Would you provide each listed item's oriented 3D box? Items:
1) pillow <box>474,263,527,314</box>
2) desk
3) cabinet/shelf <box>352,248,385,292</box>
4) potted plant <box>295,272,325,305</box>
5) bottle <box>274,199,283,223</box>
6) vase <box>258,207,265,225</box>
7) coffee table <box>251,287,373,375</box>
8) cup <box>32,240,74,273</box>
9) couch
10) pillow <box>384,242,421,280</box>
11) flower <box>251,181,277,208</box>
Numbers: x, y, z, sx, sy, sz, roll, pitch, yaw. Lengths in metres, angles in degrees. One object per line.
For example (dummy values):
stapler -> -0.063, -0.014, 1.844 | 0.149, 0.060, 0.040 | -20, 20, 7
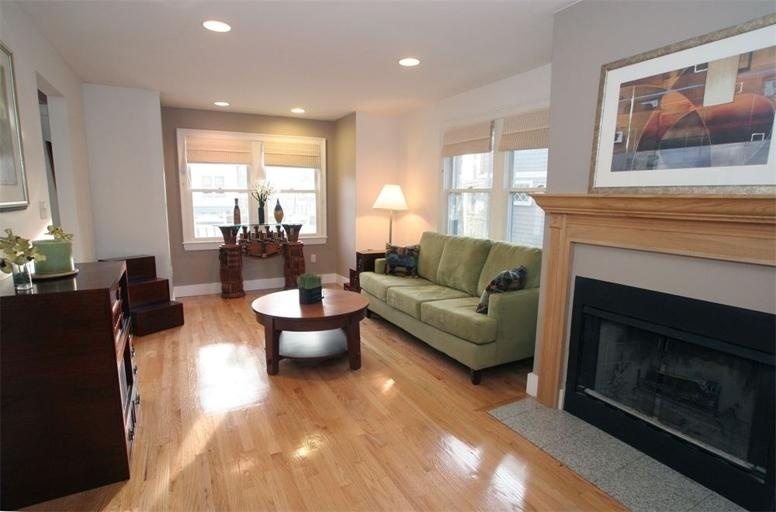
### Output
pillow -> 0.991, 0.298, 4.301 | 0.123, 0.400, 0.408 | 26, 10, 29
desk -> -1.730, 0.040, 6.554 | 1.026, 0.809, 0.291 | -5, 8, -38
cabinet/shelf -> -0.261, 0.132, 6.583 | 0.478, 0.534, 0.599 | -4, 8, -27
potted plant -> -0.750, 0.287, 4.701 | 0.335, 0.376, 0.247 | -1, 2, -44
bottle -> -1.526, -0.626, 6.826 | 0.127, 0.329, 0.293 | -3, 9, -11
vase -> -1.724, -0.555, 6.674 | 0.077, 0.233, 0.173 | -3, 9, -12
coffee table -> -0.703, 0.693, 4.588 | 1.049, 0.636, 0.706 | -3, 8, -15
cup -> -2.243, 0.003, 3.273 | 0.219, 0.226, 0.240 | 2, 8, 0
couch -> 0.661, 0.415, 4.944 | 0.906, 1.159, 1.780 | -6, 9, -30
pillow -> 0.166, 0.071, 5.743 | 0.475, 0.429, 0.171 | 1, -10, 7
flower -> -1.721, -0.863, 6.839 | 0.358, 0.385, 0.363 | 8, -1, 13
